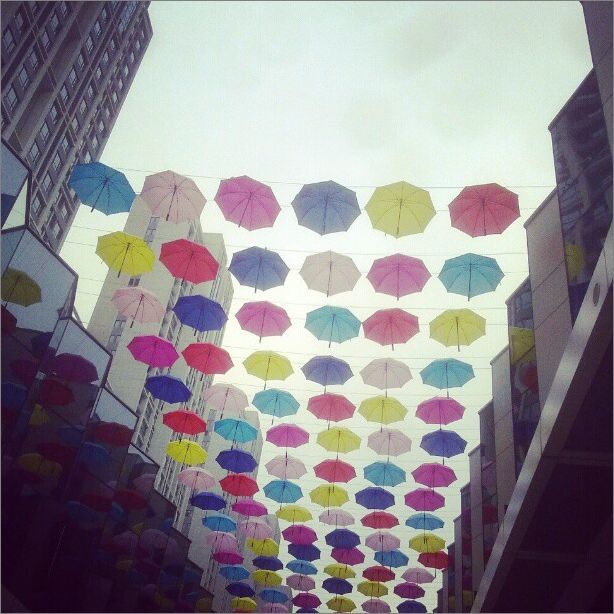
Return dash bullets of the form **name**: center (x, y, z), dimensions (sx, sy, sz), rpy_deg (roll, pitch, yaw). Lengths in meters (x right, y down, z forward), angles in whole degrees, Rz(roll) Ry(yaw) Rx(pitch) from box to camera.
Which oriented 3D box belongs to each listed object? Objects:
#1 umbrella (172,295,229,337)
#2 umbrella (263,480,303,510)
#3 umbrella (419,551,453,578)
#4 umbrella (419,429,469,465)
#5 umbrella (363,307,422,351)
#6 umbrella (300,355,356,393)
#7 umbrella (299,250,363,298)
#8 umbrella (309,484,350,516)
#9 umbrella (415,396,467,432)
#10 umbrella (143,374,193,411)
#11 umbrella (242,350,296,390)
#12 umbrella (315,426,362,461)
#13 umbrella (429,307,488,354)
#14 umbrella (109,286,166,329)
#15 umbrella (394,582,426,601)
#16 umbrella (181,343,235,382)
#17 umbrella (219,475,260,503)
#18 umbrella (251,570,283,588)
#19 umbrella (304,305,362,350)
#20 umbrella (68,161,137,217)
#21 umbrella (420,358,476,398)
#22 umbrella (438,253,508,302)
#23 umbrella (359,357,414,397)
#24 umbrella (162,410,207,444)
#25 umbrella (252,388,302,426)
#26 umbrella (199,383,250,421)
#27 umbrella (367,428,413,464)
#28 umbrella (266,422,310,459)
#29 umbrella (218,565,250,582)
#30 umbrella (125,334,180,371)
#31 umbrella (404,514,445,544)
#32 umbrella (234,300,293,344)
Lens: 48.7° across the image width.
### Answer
- **umbrella**: center (-3.112, 0.170, 20.030), dimensions (1.048, 0.866, 1.288), rpy_deg (7, -61, -1)
- **umbrella**: center (-0.893, 7.123, 26.308), dimensions (1.019, 1.134, 1.252), rpy_deg (-8, -68, 11)
- **umbrella**: center (5.253, 10.238, 27.767), dimensions (1.240, 0.700, 1.014), rpy_deg (9, -28, 12)
- **umbrella**: center (4.633, 4.517, 22.787), dimensions (1.456, 0.826, 1.012), rpy_deg (7, -28, 16)
- **umbrella**: center (2.456, 0.582, 19.798), dimensions (1.540, 0.823, 0.832), rpy_deg (8, -28, 14)
- **umbrella**: center (0.641, 2.038, 21.277), dimensions (1.481, 0.802, 0.838), rpy_deg (12, -27, 7)
- **umbrella**: center (0.637, -0.720, 19.070), dimensions (1.229, 1.035, 1.560), rpy_deg (7, -77, 1)
- **umbrella**: center (0.909, 6.957, 25.315), dimensions (1.289, 0.916, 1.631), rpy_deg (29, -31, -24)
- **umbrella**: center (4.299, 3.269, 21.837), dimensions (1.445, 0.838, 0.913), rpy_deg (13, -27, 5)
- **umbrella**: center (-4.506, 2.583, 22.022), dimensions (1.441, 1.195, 1.254), rpy_deg (22, -28, -13)
- **umbrella**: center (-1.179, 1.815, 20.859), dimensions (1.448, 0.757, 0.587), rpy_deg (13, -26, 5)
- **umbrella**: center (1.110, 4.489, 23.066), dimensions (1.509, 0.727, 0.830), rpy_deg (14, -27, 4)
- **umbrella**: center (4.099, 0.520, 18.063), dimensions (0.914, 0.701, 1.161), rpy_deg (3, -74, 6)
- **umbrella**: center (-5.081, -0.099, 20.484), dimensions (1.538, 1.030, 0.799), rpy_deg (21, -27, -11)
- **umbrella**: center (4.941, 13.498, 32.405), dimensions (1.645, 0.687, 1.182), rpy_deg (36, -34, -31)
- **umbrella**: center (-2.989, 1.416, 20.703), dimensions (1.493, 1.044, 0.996), rpy_deg (8, -28, 14)
- **umbrella**: center (-2.442, 6.559, 24.955), dimensions (1.017, 1.300, 0.597), rpy_deg (4, 9, 7)
- **umbrella**: center (-1.888, 13.036, 33.059), dimensions (1.427, 0.847, 2.210), rpy_deg (15, -29, 2)
- **umbrella**: center (0.774, 0.543, 20.382), dimensions (1.602, 0.904, 0.983), rpy_deg (14, -27, 3)
- **umbrella**: center (-5.333, -3.087, 17.587), dimensions (1.647, 1.177, 0.755), rpy_deg (16, -26, -2)
- **umbrella**: center (4.377, 2.083, 21.034), dimensions (1.522, 0.704, 0.978), rpy_deg (7, -29, 16)
- **umbrella**: center (4.481, -0.803, 18.435), dimensions (1.588, 0.983, 0.849), rpy_deg (8, -27, 14)
- **umbrella**: center (2.522, 2.146, 21.381), dimensions (1.495, 0.832, 0.893), rpy_deg (13, -27, 5)
- **umbrella**: center (-4.049, 3.607, 22.695), dimensions (1.027, 0.741, 1.050), rpy_deg (36, -58, -17)
- **umbrella**: center (-1.040, 3.190, 22.390), dimensions (1.487, 0.837, 0.823), rpy_deg (12, -27, 7)
- **umbrella**: center (-2.916, 3.321, 23.691), dimensions (1.570, 1.262, 1.224), rpy_deg (-8, -34, 36)
- **umbrella**: center (2.877, 4.667, 23.439), dimensions (1.478, 0.750, 0.946), rpy_deg (12, -28, 8)
- **umbrella**: center (-0.642, 4.406, 23.274), dimensions (0.902, 0.755, 1.104), rpy_deg (-5, -62, 9)
- **umbrella**: center (-3.517, 13.016, 33.554), dimensions (1.167, 0.763, 1.695), rpy_deg (21, -29, -10)
- **umbrella**: center (-4.671, 1.254, 20.813), dimensions (1.060, 0.918, 1.333), rpy_deg (5, -64, -3)
- **umbrella**: center (4.773, 8.539, 27.197), dimensions (1.500, 0.807, 0.861), rpy_deg (6, -28, 18)
- **umbrella**: center (-1.276, 0.369, 19.930), dimensions (1.539, 0.863, 0.677), rpy_deg (14, -26, 3)
